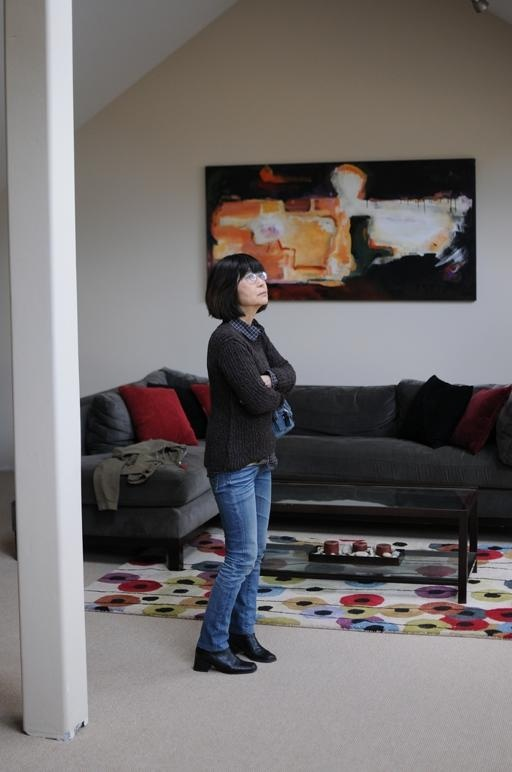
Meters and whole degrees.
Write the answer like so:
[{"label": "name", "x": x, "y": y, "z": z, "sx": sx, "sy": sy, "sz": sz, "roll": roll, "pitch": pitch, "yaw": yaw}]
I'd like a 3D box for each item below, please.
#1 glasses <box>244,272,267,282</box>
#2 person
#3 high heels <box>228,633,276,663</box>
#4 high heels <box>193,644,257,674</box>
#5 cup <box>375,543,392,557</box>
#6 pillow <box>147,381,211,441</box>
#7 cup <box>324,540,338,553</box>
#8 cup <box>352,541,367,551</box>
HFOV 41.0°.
[{"label": "glasses", "x": -0.010, "y": -0.322, "z": 2.036, "sx": 0.043, "sy": 0.014, "sz": 0.043, "roll": -4, "pitch": 1, "yaw": 37}, {"label": "person", "x": -0.011, "y": 0.233, "z": 2.058, "sx": 0.324, "sy": 1.253, "sz": 0.313, "roll": -1, "pitch": 1, "yaw": -27}, {"label": "high heels", "x": -0.019, "y": 0.822, "z": 2.150, "sx": 0.187, "sy": 0.078, "sz": 0.062, "roll": 0, "pitch": 0, "yaw": 28}, {"label": "high heels", "x": -0.095, "y": 0.826, "z": 2.087, "sx": 0.204, "sy": 0.079, "sz": 0.072, "roll": 0, "pitch": -4, "yaw": 1}, {"label": "cup", "x": 0.567, "y": 0.718, "z": 2.999, "sx": 0.049, "sy": 0.034, "sz": 0.048, "roll": -1, "pitch": -1, "yaw": 0}, {"label": "pillow", "x": -0.541, "y": 0.225, "z": 4.596, "sx": 0.130, "sy": 0.395, "sz": 0.450, "roll": -27, "pitch": -18, "yaw": 40}, {"label": "cup", "x": 0.334, "y": 0.717, "z": 3.051, "sx": 0.049, "sy": 0.043, "sz": 0.049, "roll": 0, "pitch": -1, "yaw": 0}, {"label": "cup", "x": 0.467, "y": 0.708, "z": 3.028, "sx": 0.044, "sy": 0.030, "sz": 0.042, "roll": -1, "pitch": 5, "yaw": 0}]
